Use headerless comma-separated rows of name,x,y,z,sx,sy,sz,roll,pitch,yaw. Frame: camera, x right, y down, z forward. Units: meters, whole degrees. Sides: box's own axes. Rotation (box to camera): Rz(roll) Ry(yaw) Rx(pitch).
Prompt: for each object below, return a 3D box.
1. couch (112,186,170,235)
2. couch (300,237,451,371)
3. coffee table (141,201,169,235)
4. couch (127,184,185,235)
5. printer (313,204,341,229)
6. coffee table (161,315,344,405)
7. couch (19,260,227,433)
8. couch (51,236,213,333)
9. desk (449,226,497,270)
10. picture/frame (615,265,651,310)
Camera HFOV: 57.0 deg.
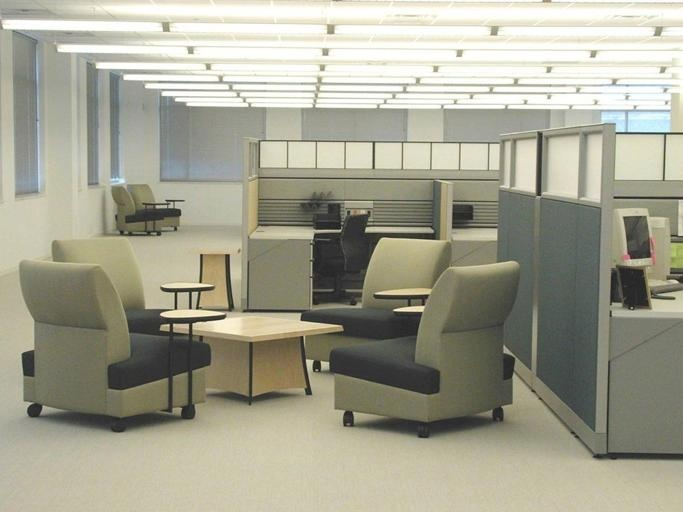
couch,-5.787,-1.299,17.875,1.446,1.296,1.480,5,6,29
couch,0.373,0.526,6.497,1.276,1.428,0.989,0,3,-43
coffee table,-5.341,-1.059,17.902,0.835,0.588,0.911,1,2,-8
couch,-5.514,-1.465,18.926,1.339,1.484,1.619,0,4,5
printer,-0.229,-0.541,9.540,0.456,0.469,0.354,1,5,-5
coffee table,-0.814,0.724,5.604,0.962,0.520,0.914,1,2,42
couch,-1.885,0.682,5.245,1.349,1.232,1.372,4,-3,-42
couch,-2.205,0.266,6.487,1.193,1.527,1.051,-1,0,25
desk,1.889,-0.123,9.071,0.606,0.405,0.631,0,5,1
picture/frame,2.052,0.224,4.435,0.277,0.373,0.025,-4,8,35
